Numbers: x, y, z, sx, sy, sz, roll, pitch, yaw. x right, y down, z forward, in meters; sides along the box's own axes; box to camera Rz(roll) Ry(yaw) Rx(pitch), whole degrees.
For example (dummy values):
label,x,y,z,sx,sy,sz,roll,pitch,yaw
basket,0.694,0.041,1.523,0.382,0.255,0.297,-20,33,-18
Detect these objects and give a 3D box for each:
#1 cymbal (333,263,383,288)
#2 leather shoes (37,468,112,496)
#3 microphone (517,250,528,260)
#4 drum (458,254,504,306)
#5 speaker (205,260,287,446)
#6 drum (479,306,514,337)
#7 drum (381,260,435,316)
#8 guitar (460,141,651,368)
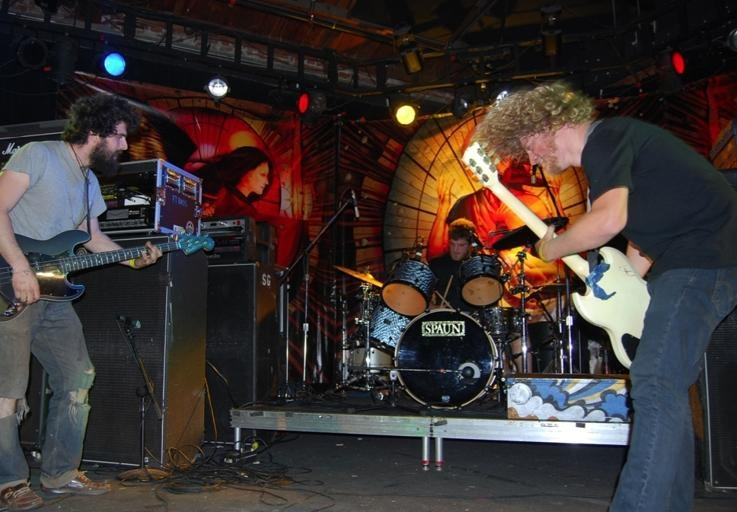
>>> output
label,x,y,z,sx,sy,sz,roll,pitch,yaw
cymbal,-0.081,0.214,7.025,0.344,0.080,0.340,20,0,22
leather shoes,-2.073,1.600,4.738,0.539,0.184,0.185,1,-15,-8
microphone,1.484,-0.019,6.286,0.152,0.065,0.102,-8,4,-8
drum,1.133,0.274,6.630,0.490,0.436,0.467,11,-50,5
speaker,-1.130,0.857,6.032,0.689,1.596,0.456,1,-1,-17
drum,1.327,0.657,6.748,0.340,0.236,0.294,7,-35,-5
drum,0.380,0.330,6.811,0.491,0.607,0.620,1,-1,-8
guitar,1.104,-0.178,4.426,0.501,0.167,1.390,-4,-45,-42
